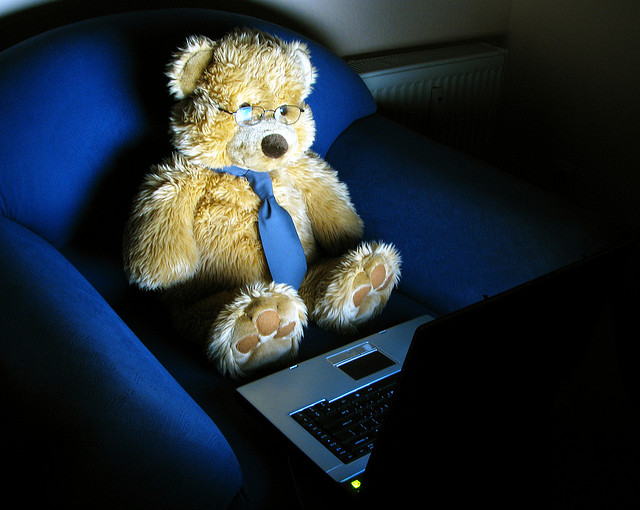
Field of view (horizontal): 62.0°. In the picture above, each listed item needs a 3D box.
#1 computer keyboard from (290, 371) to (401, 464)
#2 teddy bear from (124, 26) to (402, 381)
[{"bbox_3d":[0.053,0.311,0.882,0.137,0.269,0.027,-24,37,-1],"label":"computer keyboard"},{"bbox_3d":[-0.099,-0.107,1.045,0.393,0.578,0.512,14,20,35],"label":"teddy bear"}]
